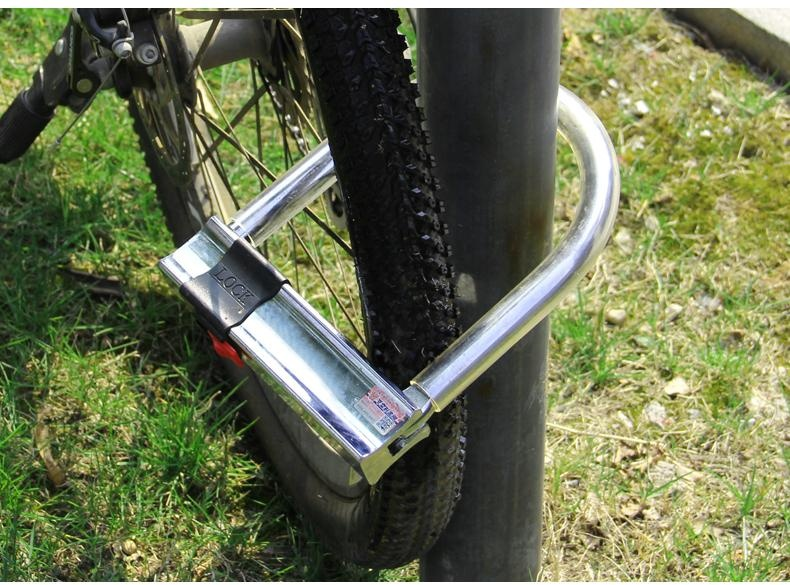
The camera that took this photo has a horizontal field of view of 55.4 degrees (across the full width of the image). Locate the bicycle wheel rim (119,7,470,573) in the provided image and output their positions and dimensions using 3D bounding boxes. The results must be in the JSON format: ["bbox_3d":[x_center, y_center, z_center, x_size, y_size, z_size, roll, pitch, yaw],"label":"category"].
[{"bbox_3d":[-0.223,0.052,1.314,0.424,0.874,0.789,-2,40,-9],"label":"bicycle wheel rim"}]

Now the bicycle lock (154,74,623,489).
[{"bbox_3d":[0.046,-0.052,1.248,0.773,0.191,0.476,-27,64,-18],"label":"bicycle lock"}]
